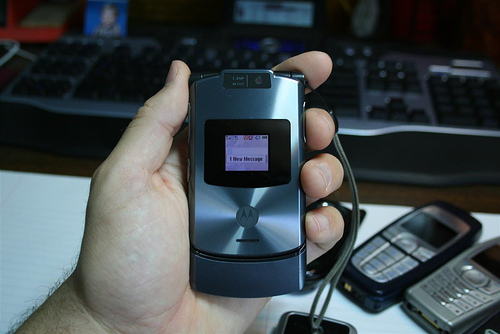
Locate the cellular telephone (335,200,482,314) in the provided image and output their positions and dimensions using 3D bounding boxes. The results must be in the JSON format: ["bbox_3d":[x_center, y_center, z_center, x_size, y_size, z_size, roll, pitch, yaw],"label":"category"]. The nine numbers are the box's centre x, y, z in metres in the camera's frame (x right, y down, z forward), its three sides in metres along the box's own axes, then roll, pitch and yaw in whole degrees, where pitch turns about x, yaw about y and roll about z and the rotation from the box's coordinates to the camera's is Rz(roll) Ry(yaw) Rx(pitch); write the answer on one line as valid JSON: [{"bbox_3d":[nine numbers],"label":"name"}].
[{"bbox_3d":[0.294,0.157,0.855,0.278,0.076,0.132,-25,29,-21],"label":"cellular telephone"}]
